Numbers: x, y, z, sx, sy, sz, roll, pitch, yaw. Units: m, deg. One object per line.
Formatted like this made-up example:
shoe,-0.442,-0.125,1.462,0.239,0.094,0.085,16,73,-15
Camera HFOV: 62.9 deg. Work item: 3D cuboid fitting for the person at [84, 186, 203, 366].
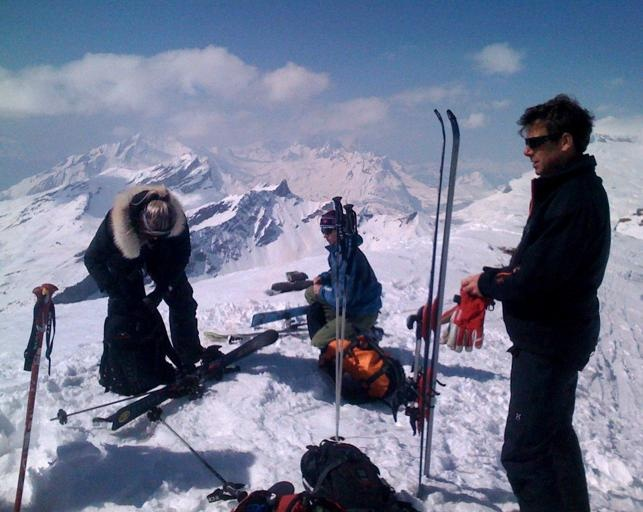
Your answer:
person,-2.501,0.433,7.660,1.542,2.919,1.119,-9,9,-31
